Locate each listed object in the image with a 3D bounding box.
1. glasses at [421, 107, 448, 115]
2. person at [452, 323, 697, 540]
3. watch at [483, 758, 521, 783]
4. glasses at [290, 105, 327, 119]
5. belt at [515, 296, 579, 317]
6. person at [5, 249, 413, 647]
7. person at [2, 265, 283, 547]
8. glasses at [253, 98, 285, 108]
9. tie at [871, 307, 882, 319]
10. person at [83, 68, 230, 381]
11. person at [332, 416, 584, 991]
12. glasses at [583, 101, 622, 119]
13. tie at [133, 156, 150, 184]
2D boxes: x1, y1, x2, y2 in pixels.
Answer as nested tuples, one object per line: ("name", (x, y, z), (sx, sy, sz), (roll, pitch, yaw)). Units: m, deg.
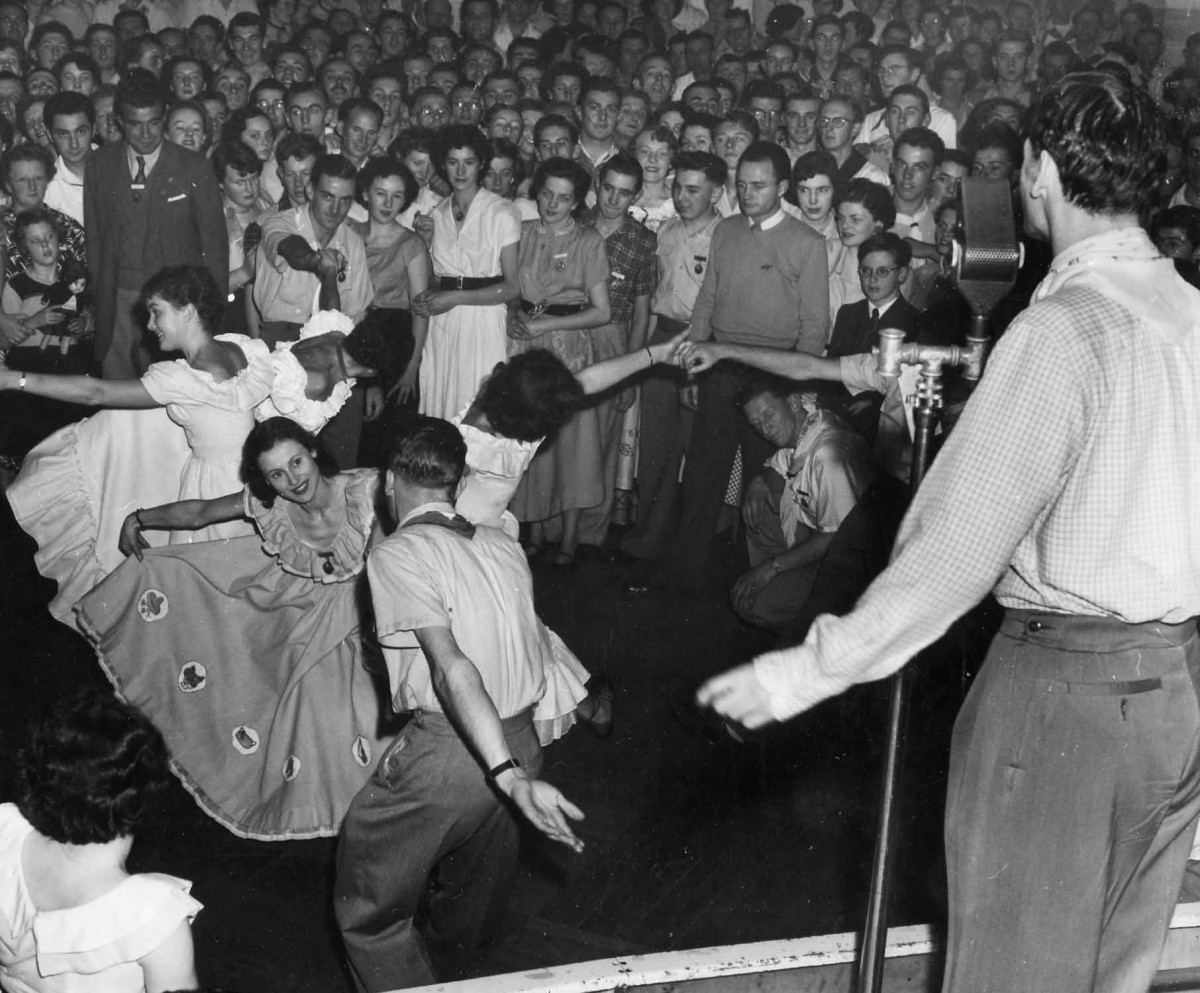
("glasses", (-1.003, -2.342, 7.911), (0.142, 0.052, 0.024), (0, 11, -12))
("person", (-0.152, -0.301, 4.159), (0.731, 0.347, 1.419), (12, -21, 0))
("watch", (-0.212, 0.580, 2.853), (0.067, 0.069, 0.044), (-27, 45, 12))
("glasses", (-1.729, -2.295, 7.690), (0.185, 0.076, 0.074), (-1, 12, -16))
("belt", (-0.257, -0.947, 6.435), (0.326, 0.077, 0.117), (3, 12, 1))
("person", (-1.506, -0.397, 5.176), (1.252, 1.154, 1.384), (12, -31, -10))
("person", (-1.867, -0.376, 5.281), (1.014, 0.977, 0.659), (-16, 53, -37))
("glasses", (-1.980, -2.341, 7.736), (0.166, 0.071, 0.100), (-3, 13, -24))
("tie", (1.256, -0.847, 5.928), (0.011, 0.051, 0.047), (-8, 14, -42))
("person", (-2.443, -1.348, 7.028), (0.653, 1.800, 0.559), (5, 47, -15))
("person", (-0.381, 0.591, 3.136), (0.526, 1.454, 0.869), (1, 11, -6))
("glasses", (0.003, -2.230, 7.442), (0.197, 0.068, 0.059), (1, 11, -6))
("tie", (-2.376, -1.700, 6.717), (0.084, 0.130, 0.045), (2, 11, -1))
